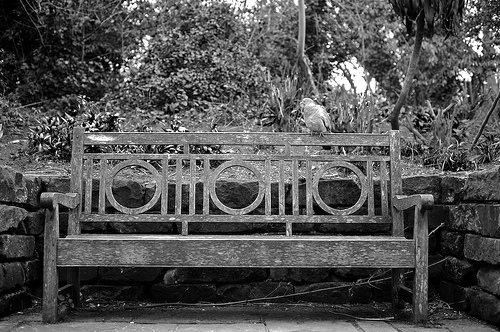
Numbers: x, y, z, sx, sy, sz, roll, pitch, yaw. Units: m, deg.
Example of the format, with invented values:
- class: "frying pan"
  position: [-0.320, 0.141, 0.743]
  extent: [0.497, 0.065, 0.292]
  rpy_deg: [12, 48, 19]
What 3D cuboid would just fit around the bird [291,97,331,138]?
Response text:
- class: "bird"
  position: [0.750, -0.570, 6.615]
  extent: [0.399, 0.334, 0.219]
  rpy_deg: [-6, 27, 0]
